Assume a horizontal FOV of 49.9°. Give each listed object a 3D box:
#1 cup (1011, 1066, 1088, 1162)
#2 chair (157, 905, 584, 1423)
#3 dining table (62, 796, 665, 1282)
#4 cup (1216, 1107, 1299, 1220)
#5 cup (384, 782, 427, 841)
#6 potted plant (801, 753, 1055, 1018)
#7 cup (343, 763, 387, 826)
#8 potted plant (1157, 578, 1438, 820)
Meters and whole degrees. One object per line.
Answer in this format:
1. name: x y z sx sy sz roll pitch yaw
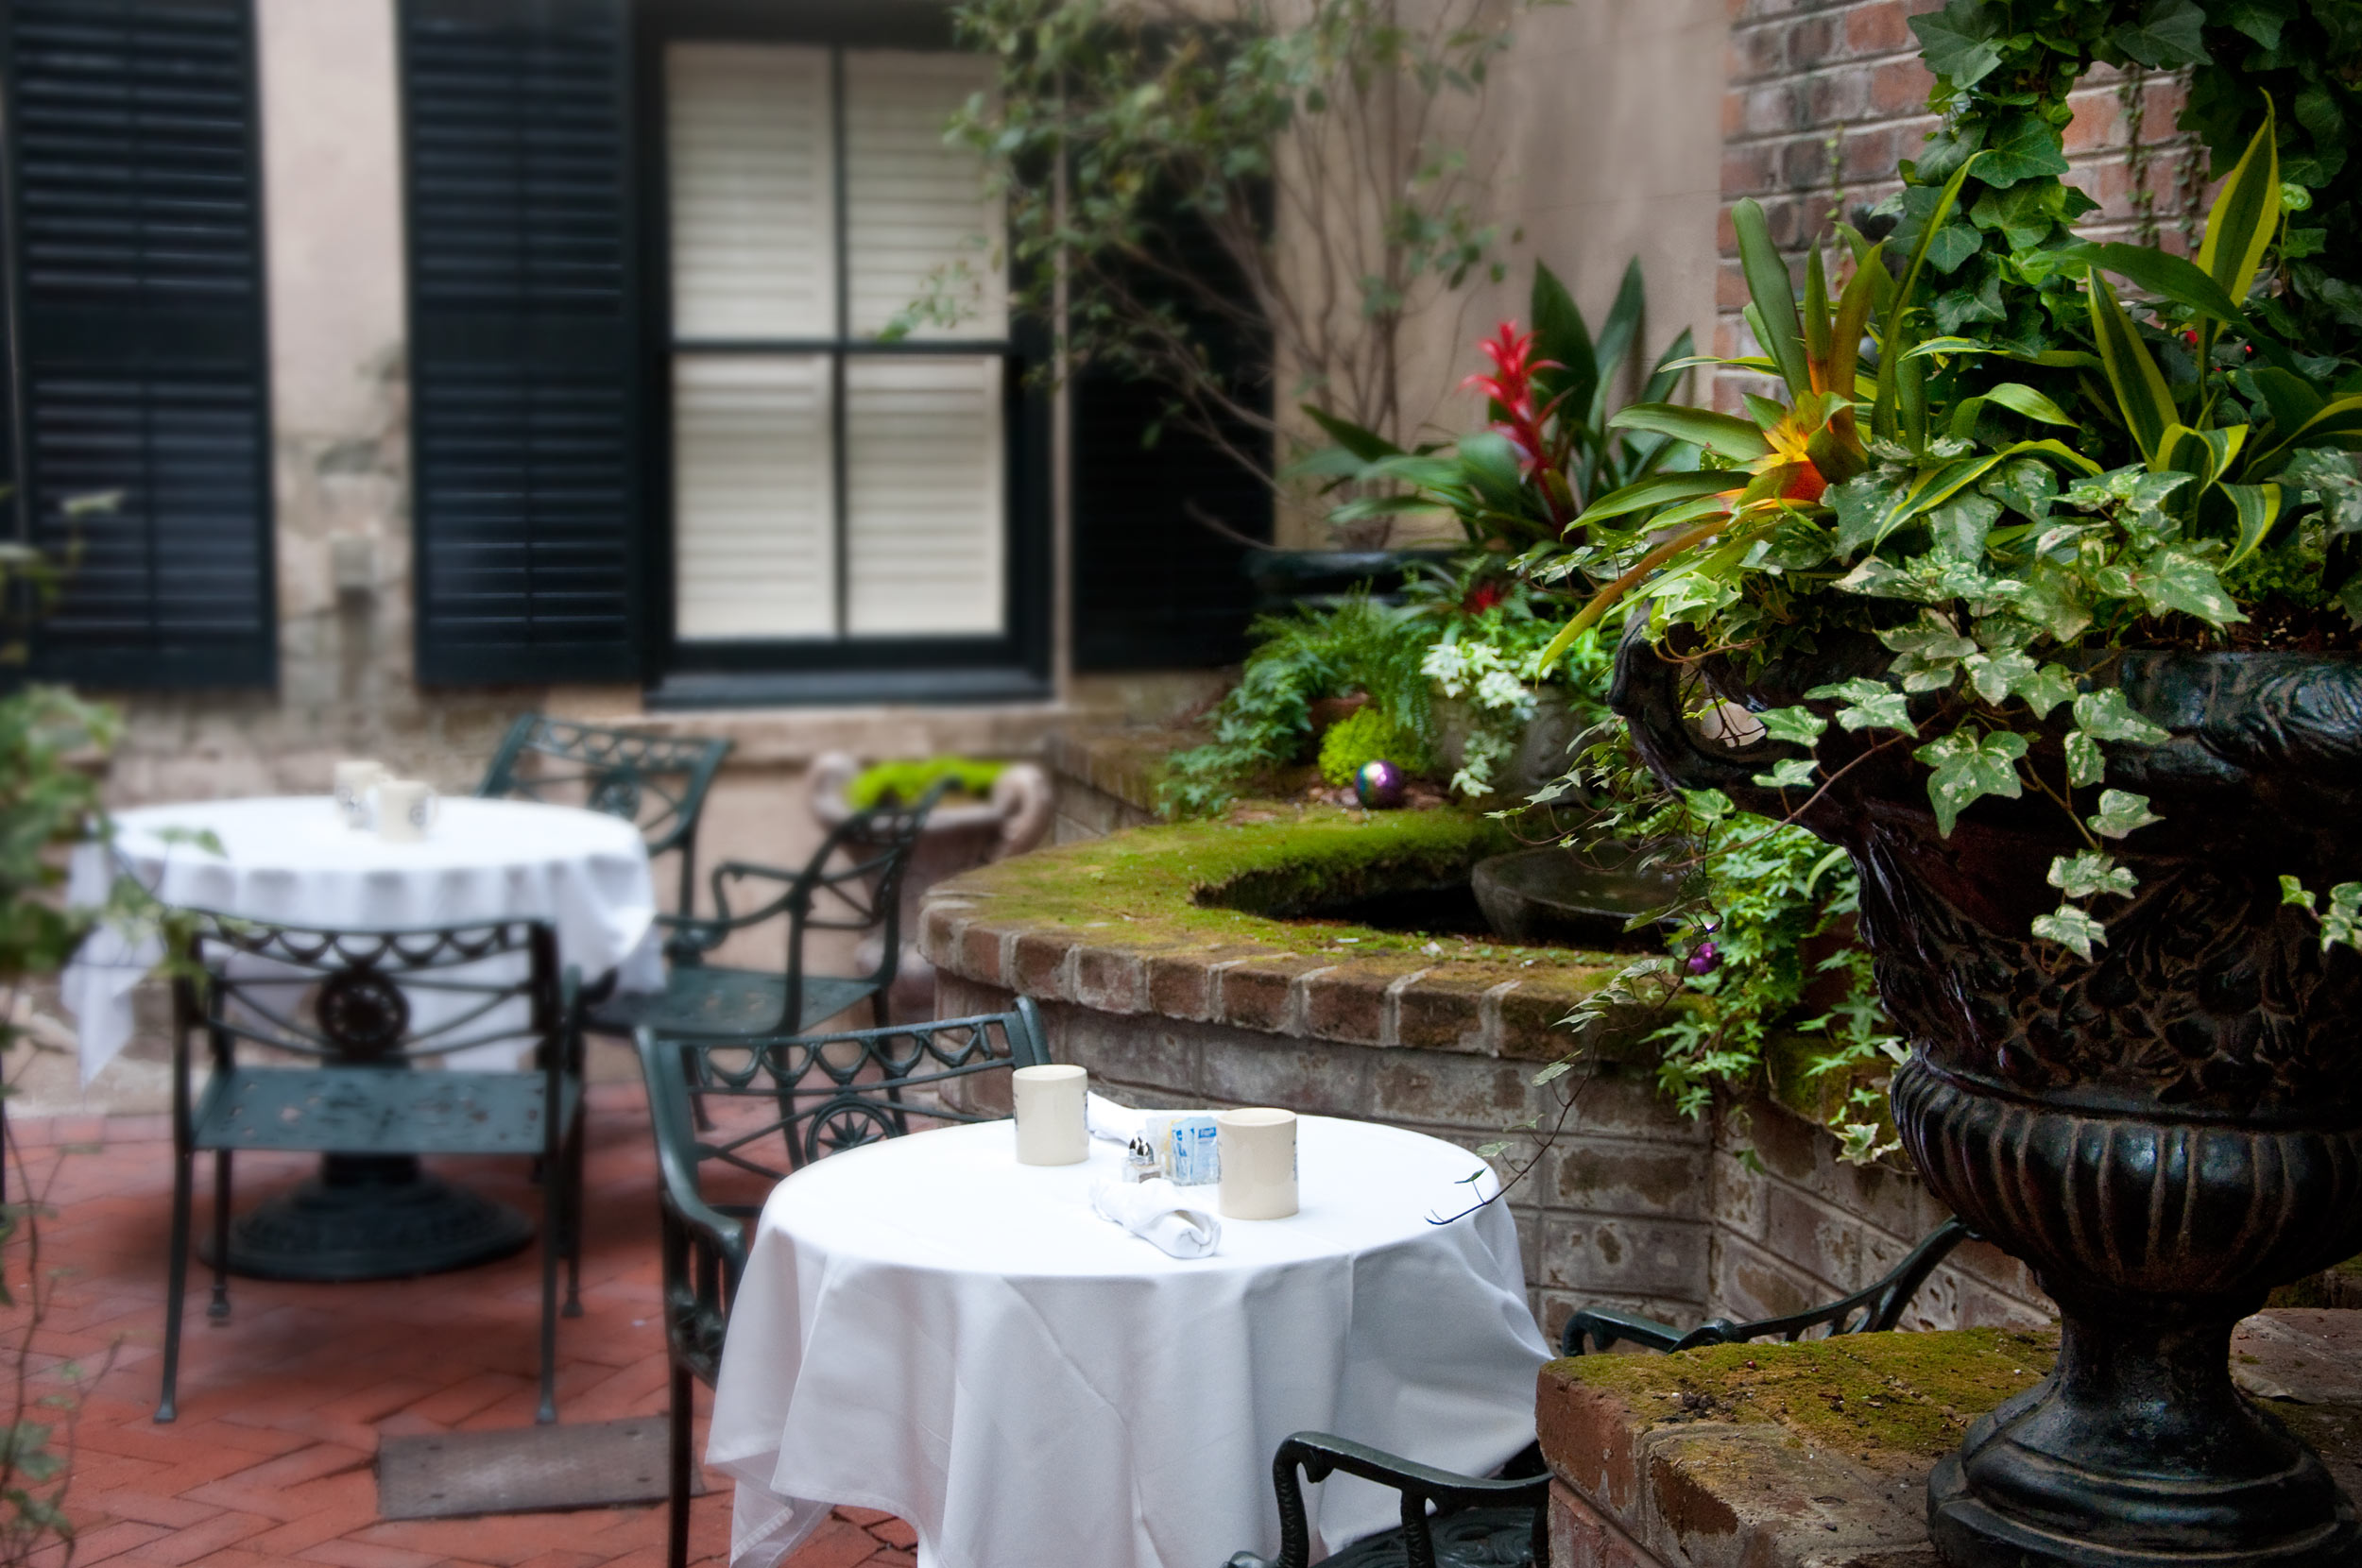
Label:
1. cup: -0.208 0.520 4.059 0.139 0.151 0.137 0 0 0
2. chair: -1.757 0.673 5.518 0.888 1.050 1.388 -3 13 -14
3. dining table: -1.984 0.532 6.021 1.209 0.833 1.186 -2 6 -28
4. cup: 0.117 0.577 3.849 0.140 0.155 0.141 -1 9 0
5. cup: -1.839 0.056 6.054 0.132 0.116 0.097 2 -1 -17
6. potted plant: -0.695 0.364 8.401 1.043 0.984 0.736 -1 -1 0
7. cup: -1.982 0.021 6.134 0.097 0.139 0.146 1 0 -13
8. potted plant: 0.393 -0.216 7.144 0.683 0.405 0.671 -27 18 -29
